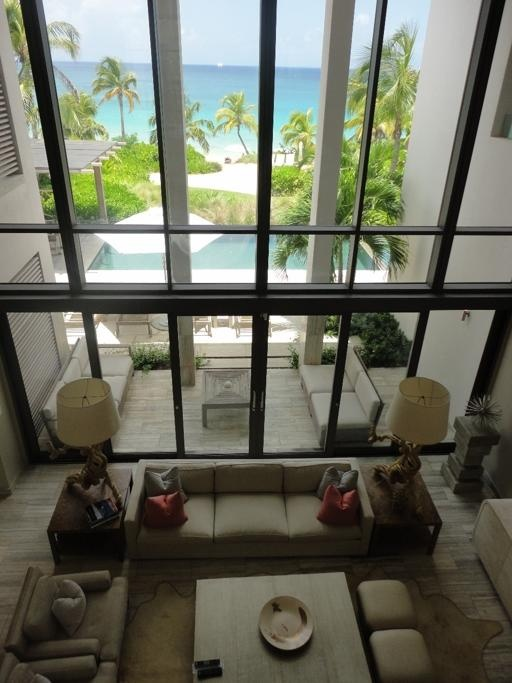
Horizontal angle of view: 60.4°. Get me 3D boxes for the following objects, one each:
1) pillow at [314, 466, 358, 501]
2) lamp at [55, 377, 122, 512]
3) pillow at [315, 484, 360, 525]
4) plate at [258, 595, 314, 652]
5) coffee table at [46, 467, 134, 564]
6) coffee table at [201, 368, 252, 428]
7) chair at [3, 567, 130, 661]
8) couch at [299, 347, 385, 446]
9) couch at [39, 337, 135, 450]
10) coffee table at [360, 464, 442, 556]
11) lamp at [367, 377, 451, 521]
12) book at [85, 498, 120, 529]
[{"bbox_3d":[0.951,1.572,4.997,0.354,0.143,0.382,4,36,5],"label":"pillow"},{"bbox_3d":[-1.720,1.131,4.623,0.616,1.471,0.720,-13,32,-27],"label":"lamp"},{"bbox_3d":[0.905,1.770,4.757,0.305,0.137,0.310,7,60,8],"label":"pillow"},{"bbox_3d":[0.239,2.362,3.690,0.422,0.125,0.473,-9,13,-9],"label":"plate"},{"bbox_3d":[-1.840,1.941,5.029,0.682,0.512,0.999,2,23,-11],"label":"coffee table"},{"bbox_3d":[-0.374,0.744,5.849,0.666,0.409,1.028,-1,20,-7],"label":"coffee table"},{"bbox_3d":[-1.502,2.343,3.689,0.746,0.862,0.767,-2,30,-9],"label":"chair"},{"bbox_3d":[1.178,0.718,6.232,0.781,0.777,1.420,2,26,-4],"label":"couch"},{"bbox_3d":[-2.030,0.572,5.549,0.720,0.613,1.575,0,32,-2],"label":"couch"},{"bbox_3d":[1.707,1.918,5.322,0.742,0.733,1.016,-6,39,12],"label":"coffee table"},{"bbox_3d":[1.688,1.132,4.811,0.739,1.507,0.593,19,34,28],"label":"lamp"},{"bbox_3d":[-1.596,1.787,4.611,0.207,0.054,0.223,-6,32,-23],"label":"book"}]
